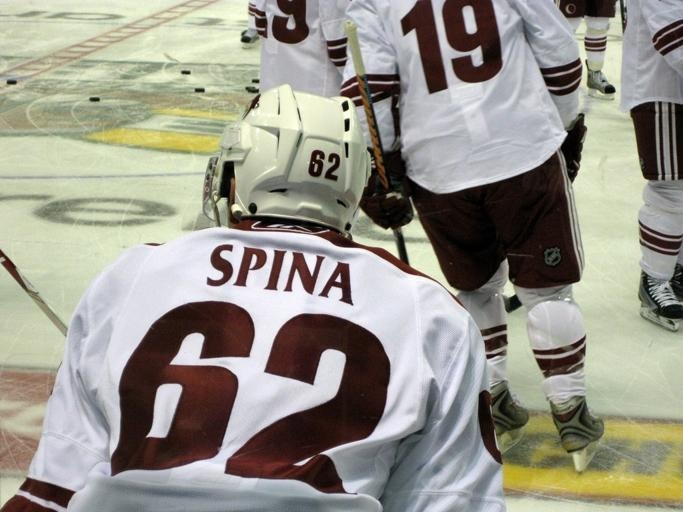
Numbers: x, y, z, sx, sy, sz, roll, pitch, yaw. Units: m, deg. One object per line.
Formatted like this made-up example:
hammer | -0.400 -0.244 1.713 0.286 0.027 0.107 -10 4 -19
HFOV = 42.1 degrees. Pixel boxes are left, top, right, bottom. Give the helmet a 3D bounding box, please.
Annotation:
helmet | -0.221 -0.298 2.790 0.464 0.413 0.510 11 5 -15

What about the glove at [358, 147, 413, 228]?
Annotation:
glove | 0.183 -0.256 3.464 0.241 0.262 0.113 -16 9 17
